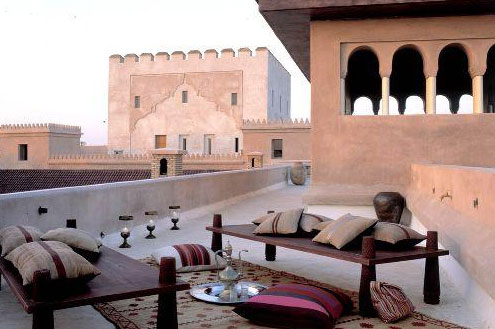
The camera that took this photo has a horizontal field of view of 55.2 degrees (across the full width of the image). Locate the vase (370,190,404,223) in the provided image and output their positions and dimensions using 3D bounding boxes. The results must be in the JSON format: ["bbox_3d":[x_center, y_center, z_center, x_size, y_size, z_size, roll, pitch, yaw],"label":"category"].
[{"bbox_3d":[2.868,0.871,9.677,0.637,0.621,0.631,-3,0,-25],"label":"vase"}]

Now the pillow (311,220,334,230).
[{"bbox_3d":[1.064,0.866,6.866,0.204,0.059,0.201,-19,3,24],"label":"pillow"}]

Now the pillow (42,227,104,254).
[{"bbox_3d":[-2.252,0.919,6.097,0.444,0.130,0.450,17,-3,24],"label":"pillow"}]

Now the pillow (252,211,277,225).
[{"bbox_3d":[0.301,0.811,7.595,0.262,0.077,0.267,-18,5,46],"label":"pillow"}]

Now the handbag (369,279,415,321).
[{"bbox_3d":[1.737,1.640,5.745,0.429,0.290,0.224,0,-43,-52],"label":"handbag"}]
